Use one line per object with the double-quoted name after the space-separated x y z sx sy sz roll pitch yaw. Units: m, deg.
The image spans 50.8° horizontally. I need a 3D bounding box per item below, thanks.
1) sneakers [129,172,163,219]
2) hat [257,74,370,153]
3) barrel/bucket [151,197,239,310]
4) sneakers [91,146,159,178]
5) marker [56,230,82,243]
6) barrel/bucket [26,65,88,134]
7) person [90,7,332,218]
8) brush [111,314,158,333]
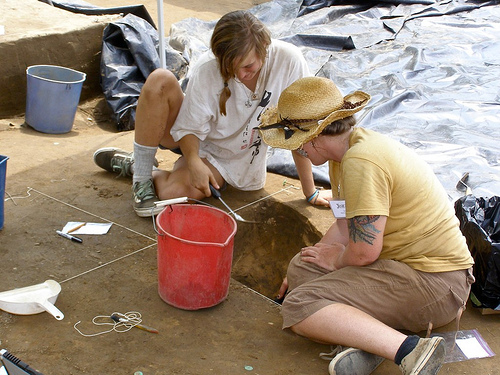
-0.670 0.059 3.473 0.153 0.143 0.374 -12 27 -22 "sneakers"
0.329 -0.432 2.731 0.630 0.201 0.542 -16 22 -4 "hat"
-0.335 0.368 2.940 0.516 0.398 0.475 6 23 -3 "barrel/bucket"
-0.869 -0.193 3.910 0.627 0.192 0.230 8 21 3 "sneakers"
-1.096 0.299 3.183 0.152 0.024 0.030 19 10 20 "marker"
-1.744 -0.779 4.708 0.467 0.538 0.401 15 28 6 "barrel/bucket"
-0.156 -0.482 3.536 1.732 1.252 0.811 -2 25 -17 "person"
-0.592 0.695 2.675 0.211 0.036 0.022 18 2 9 "brush"
